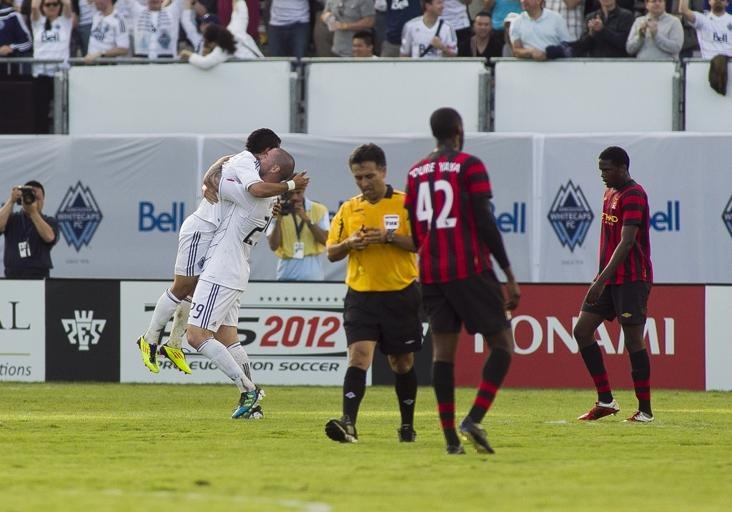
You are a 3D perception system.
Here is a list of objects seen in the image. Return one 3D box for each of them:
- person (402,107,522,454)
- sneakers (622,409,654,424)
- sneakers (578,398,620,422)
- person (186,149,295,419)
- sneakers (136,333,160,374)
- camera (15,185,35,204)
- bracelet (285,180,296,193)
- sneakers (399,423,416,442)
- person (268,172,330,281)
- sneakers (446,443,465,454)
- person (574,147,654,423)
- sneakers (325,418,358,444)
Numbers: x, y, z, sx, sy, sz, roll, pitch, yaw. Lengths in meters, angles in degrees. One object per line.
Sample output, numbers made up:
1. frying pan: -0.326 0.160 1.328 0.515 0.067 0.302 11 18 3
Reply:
1. person: 1.093 0.271 18.924 1.231 3.854 0.730 -1 4 6
2. sneakers: 3.306 1.940 20.405 0.374 0.187 0.133 3 -4 -2
3. sneakers: 2.883 1.895 20.638 0.558 0.259 0.210 -14 9 -6
4. person: -1.515 0.336 20.364 1.295 3.250 0.559 -2 4 -4
5. sneakers: -2.771 1.228 21.485 0.179 0.562 0.257 -19 -2 -42
6. camera: -4.614 -0.839 22.931 0.229 0.253 0.277 -2 4 -10
7. bracelet: -0.903 -0.828 20.140 0.105 0.115 0.106 -14 19 -42
8. sneakers: 0.490 2.061 19.529 0.175 0.185 0.179 3 7 12
9. person: -0.930 -0.268 23.281 1.048 1.809 1.048 0 -1 4
10. sneakers: 1.013 2.154 18.810 0.083 0.102 0.231 -9 -16 42
11. person: 3.061 0.340 20.550 0.877 3.332 0.550 -1 4 10
12. sneakers: -0.266 2.005 19.209 0.400 0.191 0.220 30 22 2
